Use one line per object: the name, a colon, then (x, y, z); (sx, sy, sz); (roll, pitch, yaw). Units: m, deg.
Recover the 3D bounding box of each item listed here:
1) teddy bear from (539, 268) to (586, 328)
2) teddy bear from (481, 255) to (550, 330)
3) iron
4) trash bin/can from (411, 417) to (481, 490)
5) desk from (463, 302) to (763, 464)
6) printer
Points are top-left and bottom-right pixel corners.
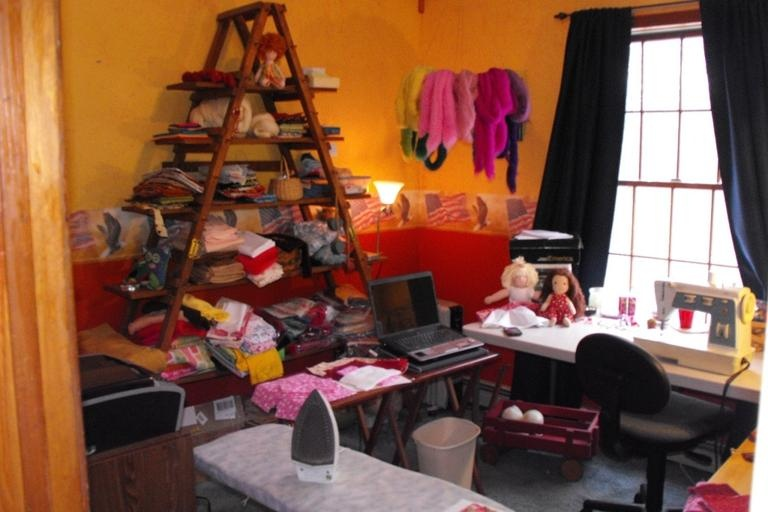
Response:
teddy bear: (1.311, 0.279, 4.296); (0.403, 0.435, 0.385); (3, 9, 26)
teddy bear: (0.987, 0.260, 4.381); (0.621, 0.527, 0.476); (1, 1, 4)
iron: (-0.280, 0.723, 2.416); (0.194, 0.387, 0.143); (0, 8, -2)
trash bin/can: (0.372, 1.138, 3.628); (0.427, 0.415, 0.447); (0, 10, -20)
desk: (1.534, 0.608, 3.674); (0.972, 0.862, 1.887); (-10, 15, -38)
printer: (-1.146, 0.624, 2.590); (0.419, 0.278, 0.502); (-6, 11, -40)
